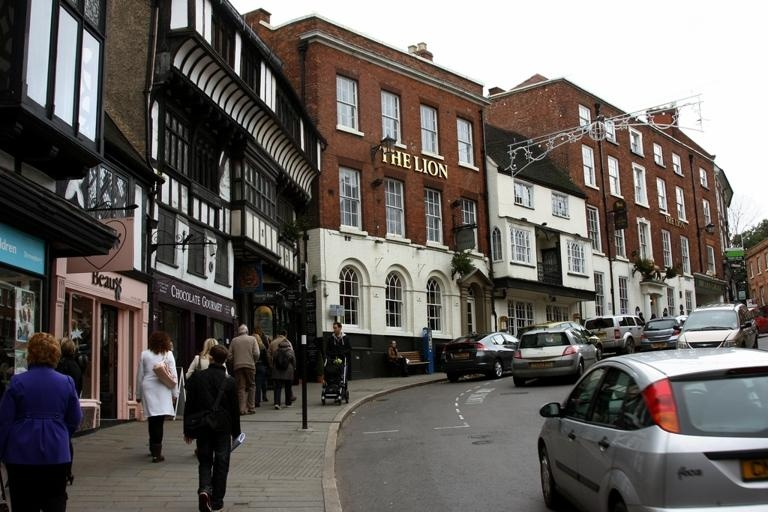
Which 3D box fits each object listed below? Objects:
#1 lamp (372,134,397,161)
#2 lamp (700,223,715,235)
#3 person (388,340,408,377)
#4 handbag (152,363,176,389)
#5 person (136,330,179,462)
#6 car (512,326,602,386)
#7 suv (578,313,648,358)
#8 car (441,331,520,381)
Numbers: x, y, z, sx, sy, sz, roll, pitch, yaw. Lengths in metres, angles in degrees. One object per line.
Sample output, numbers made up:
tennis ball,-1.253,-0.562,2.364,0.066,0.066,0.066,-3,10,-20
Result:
lamp,-0.069,-5.056,34.332,0.824,0.839,1.299,4,-19,-32
lamp,27.400,-2.374,63.348,0.933,0.611,1.543,-3,-4,1
person,0.574,4.475,32.852,0.863,1.476,1.147,-1,-3,1
handbag,-4.060,2.199,13.826,0.160,0.448,0.348,-43,-27,-9
person,-4.176,2.542,13.809,0.710,2.263,0.899,1,-3,-24
car,5.720,3.203,24.513,1.554,1.273,2.642,-5,-3,27
suv,10.973,3.571,34.768,1.745,1.429,3.205,-4,-1,36
car,3.948,3.712,28.374,1.372,1.139,3.079,-5,-4,31
